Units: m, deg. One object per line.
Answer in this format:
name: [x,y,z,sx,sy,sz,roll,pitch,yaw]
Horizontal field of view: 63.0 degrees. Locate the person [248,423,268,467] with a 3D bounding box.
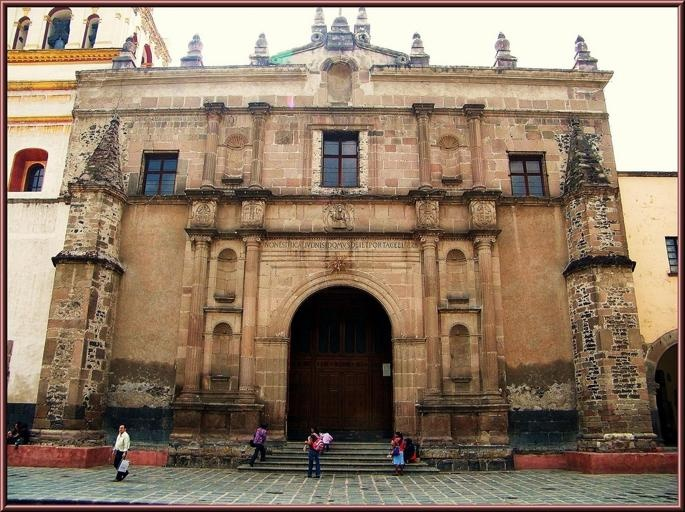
person: [-2.912,6.519,19.134,0.560,1.359,1.131,2,-16,-8]

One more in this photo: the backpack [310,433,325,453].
backpack: [-0.793,6.048,17.989,0.462,0.634,0.598,10,-14,-41]

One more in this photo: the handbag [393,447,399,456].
handbag: [1.760,6.501,18.456,0.221,0.303,0.129,-6,-35,11]

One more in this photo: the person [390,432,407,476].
person: [1.848,6.655,18.723,0.431,1.292,0.709,-2,-16,6]

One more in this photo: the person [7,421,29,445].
person: [-11.103,6.152,19.107,0.670,0.805,0.687,-6,-26,-7]
